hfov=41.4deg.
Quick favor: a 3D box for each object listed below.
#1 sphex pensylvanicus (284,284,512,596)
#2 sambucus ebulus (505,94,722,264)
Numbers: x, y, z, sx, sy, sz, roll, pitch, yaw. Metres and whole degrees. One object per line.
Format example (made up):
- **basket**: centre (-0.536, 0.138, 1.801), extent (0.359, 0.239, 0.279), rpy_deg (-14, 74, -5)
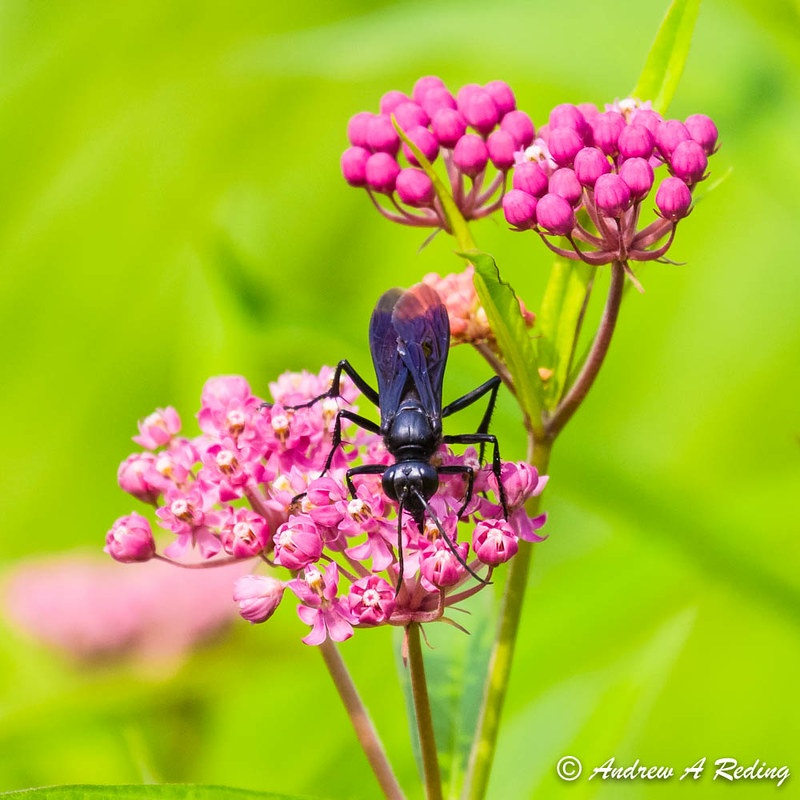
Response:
- **sphex pensylvanicus**: centre (0.027, 0.100, 2.974), extent (0.621, 0.324, 1.055), rpy_deg (0, 48, -3)
- **sambucus ebulus**: centre (0.554, -0.548, 2.820), extent (0.546, 0.410, 0.531), rpy_deg (4, 32, 17)
